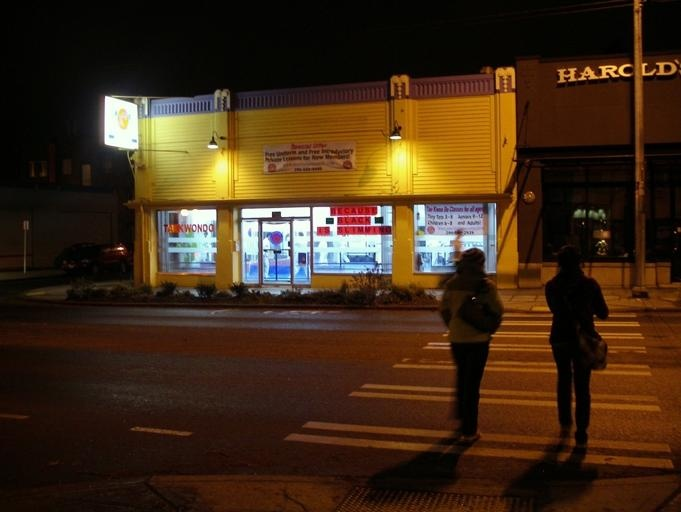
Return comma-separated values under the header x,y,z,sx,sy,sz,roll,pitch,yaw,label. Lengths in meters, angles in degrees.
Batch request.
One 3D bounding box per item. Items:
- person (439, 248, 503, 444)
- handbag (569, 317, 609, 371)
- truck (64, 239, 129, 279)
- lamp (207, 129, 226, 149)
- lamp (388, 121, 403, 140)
x,y,z,sx,sy,sz,roll,pitch,yaw,label
1.897,1.294,11.017,0.877,2.800,0.582,3,7,30,person
3.662,1.331,10.845,0.501,0.738,0.227,-3,7,-18,handbag
-13.885,0.275,42.896,1.716,1.379,3.639,-2,-3,17,truck
-5.058,-4.731,30.315,0.920,0.832,0.543,5,-4,-43,lamp
2.088,-4.740,28.209,0.600,0.826,0.713,-1,1,8,lamp
